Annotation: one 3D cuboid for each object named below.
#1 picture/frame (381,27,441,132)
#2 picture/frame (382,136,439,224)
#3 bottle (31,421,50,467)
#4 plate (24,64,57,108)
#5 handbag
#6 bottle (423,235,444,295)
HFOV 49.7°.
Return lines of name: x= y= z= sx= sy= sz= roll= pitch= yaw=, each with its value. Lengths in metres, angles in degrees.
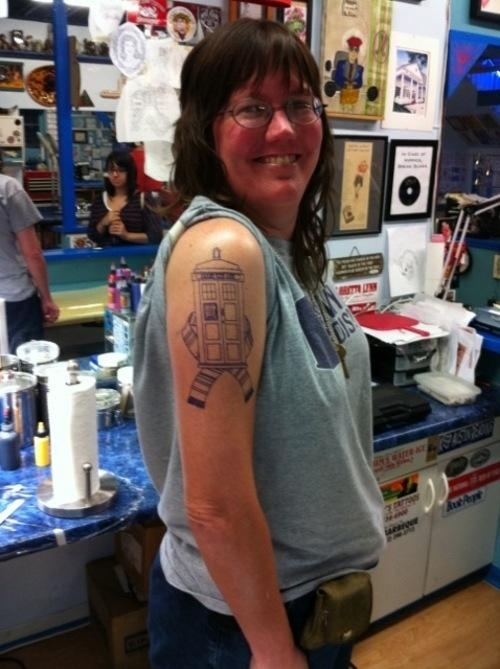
picture/frame: x=0.617 y=-1.010 z=2.108 sx=0.398 sy=0.377 sz=0.023 roll=-15 pitch=23 yaw=-43
picture/frame: x=0.654 y=-0.654 z=2.236 sx=0.331 sy=0.354 sz=0.025 roll=-17 pitch=27 yaw=-35
bottle: x=-0.512 y=0.268 z=1.335 sx=0.052 sy=0.097 sz=0.051 roll=-6 pitch=4 yaw=0
plate: x=-0.575 y=-0.692 z=1.493 sx=0.023 sy=0.110 sz=0.102 roll=5 pitch=17 yaw=28
handbag: x=0.108 y=0.349 z=0.688 sx=0.097 sy=0.083 sz=0.050 roll=1 pitch=12 yaw=-31
bottle: x=0.773 y=-0.295 z=2.283 sx=0.080 sy=0.246 sz=0.071 roll=6 pitch=18 yaw=30
